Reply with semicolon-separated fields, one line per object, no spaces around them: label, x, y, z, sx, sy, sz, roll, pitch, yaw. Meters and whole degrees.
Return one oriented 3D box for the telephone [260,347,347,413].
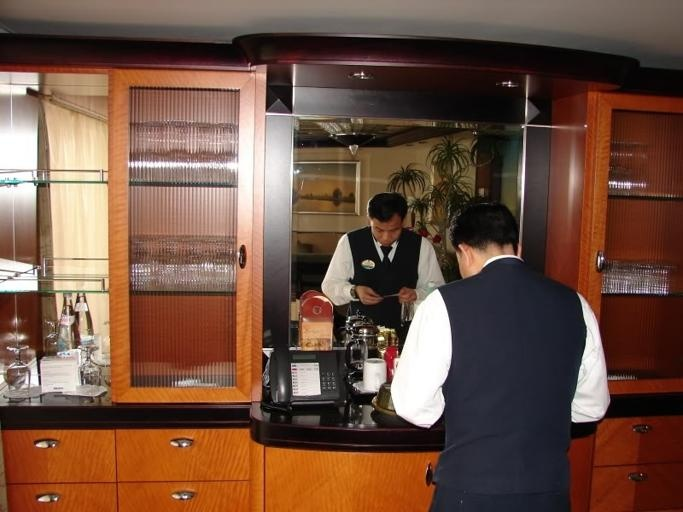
telephone;-0.182;0.607;2.929;0.410;0.281;0.264;1;-16;-6

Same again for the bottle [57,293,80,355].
bottle;-1.559;0.372;3.405;0.110;0.300;0.188;-2;1;-24

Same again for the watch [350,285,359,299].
watch;0.069;0.209;3.369;0.043;0.068;0.063;-2;-6;10

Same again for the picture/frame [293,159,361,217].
picture/frame;-0.095;-0.379;3.254;0.315;0.234;0.012;-1;5;-10

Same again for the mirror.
mirror;0.302;-0.154;3.035;1.328;1.340;0.016;1;4;-4

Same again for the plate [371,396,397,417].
plate;0.202;0.705;2.794;0.193;0.045;0.194;1;-1;4

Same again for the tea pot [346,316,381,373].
tea pot;0.113;0.484;3.258;0.184;0.286;0.264;-1;1;3

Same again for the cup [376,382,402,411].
cup;0.232;0.654;2.840;0.143;0.079;0.144;0;-2;0

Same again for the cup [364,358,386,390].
cup;0.169;0.601;3.017;0.098;0.136;0.154;0;1;4

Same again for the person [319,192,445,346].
person;0.234;0.313;3.509;0.696;1.363;0.433;1;21;-2

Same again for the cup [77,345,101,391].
cup;-1.371;0.591;3.256;0.102;0.194;0.262;-2;1;-23
